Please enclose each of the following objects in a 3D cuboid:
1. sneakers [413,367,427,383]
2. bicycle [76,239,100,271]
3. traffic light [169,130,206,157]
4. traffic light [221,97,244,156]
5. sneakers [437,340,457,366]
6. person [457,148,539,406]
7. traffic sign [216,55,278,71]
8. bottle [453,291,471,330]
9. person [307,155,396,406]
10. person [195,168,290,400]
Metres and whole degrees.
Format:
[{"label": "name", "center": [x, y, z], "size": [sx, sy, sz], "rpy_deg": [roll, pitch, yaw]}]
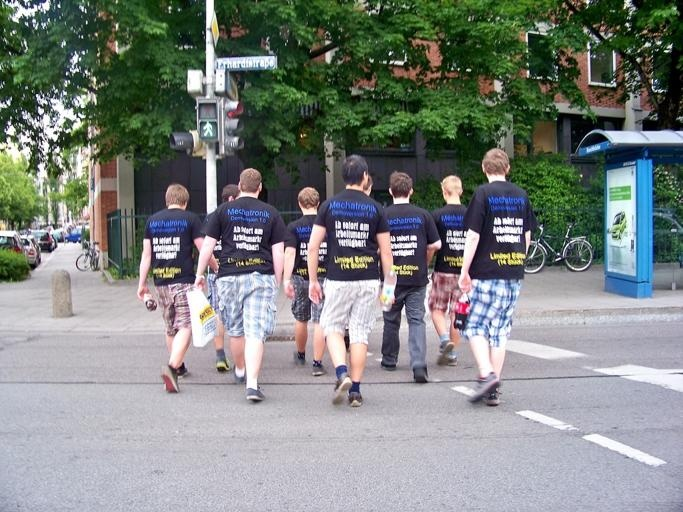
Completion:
[{"label": "sneakers", "center": [1.064, 1.600, 11.384], "size": [0.198, 0.214, 0.155], "rpy_deg": [-3, 11, -10]}, {"label": "bicycle", "center": [-8.957, 0.069, 29.587], "size": [0.777, 1.046, 2.022], "rpy_deg": [-4, 12, -17]}, {"label": "traffic light", "center": [-2.736, -1.988, 14.886], "size": [0.622, 0.470, 0.572], "rpy_deg": [-2, 11, -5]}, {"label": "traffic light", "center": [-1.957, -2.277, 14.866], "size": [0.367, 0.990, 0.783], "rpy_deg": [-1, 11, -2]}, {"label": "sneakers", "center": [1.509, 1.396, 12.051], "size": [0.168, 0.205, 0.463], "rpy_deg": [-1, -33, 0]}, {"label": "person", "center": [1.909, 0.250, 10.746], "size": [0.701, 3.151, 1.012], "rpy_deg": [5, 12, 30]}, {"label": "traffic sign", "center": [-1.716, -3.448, 14.954], "size": [1.059, 0.236, 0.377], "rpy_deg": [-3, 11, -9]}, {"label": "bottle", "center": [1.525, 0.722, 10.743], "size": [0.199, 0.455, 0.390], "rpy_deg": [1, 11, 9]}, {"label": "person", "center": [0.127, 0.294, 10.738], "size": [0.961, 3.104, 0.762], "rpy_deg": [-7, 12, -32]}, {"label": "person", "center": [-1.290, 0.347, 11.068], "size": [0.906, 2.905, 0.890], "rpy_deg": [5, 12, 28]}]
